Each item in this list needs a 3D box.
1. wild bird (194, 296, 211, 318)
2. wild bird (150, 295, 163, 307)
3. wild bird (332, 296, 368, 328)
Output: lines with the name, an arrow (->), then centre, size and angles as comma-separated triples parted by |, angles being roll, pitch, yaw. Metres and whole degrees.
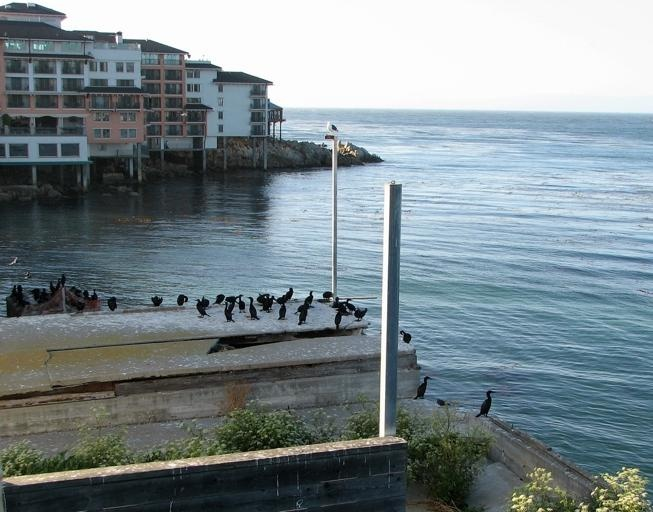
wild bird -> -4.808, 1.974, 31.277 | 0.414, 0.622, 0.978 | -2, 10, -8
wild bird -> -8.101, 2.189, 38.353 | 0.449, 0.536, 1.193 | -28, -9, -18
wild bird -> 0.749, 2.173, 31.952 | 0.719, 0.769, 1.994 | 1, 0, 29
